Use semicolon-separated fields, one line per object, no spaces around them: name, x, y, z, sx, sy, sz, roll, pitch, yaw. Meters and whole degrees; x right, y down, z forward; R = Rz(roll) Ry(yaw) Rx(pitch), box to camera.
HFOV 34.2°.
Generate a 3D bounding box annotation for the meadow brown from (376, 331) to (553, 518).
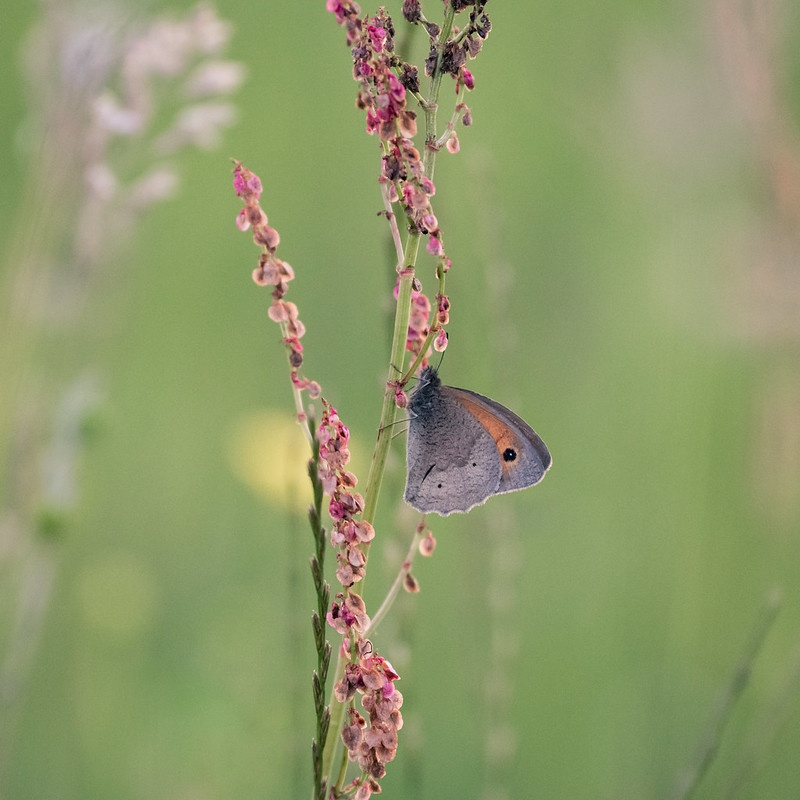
meadow brown;0.046;0.056;1.197;0.167;0.083;0.163;-9;45;-24
